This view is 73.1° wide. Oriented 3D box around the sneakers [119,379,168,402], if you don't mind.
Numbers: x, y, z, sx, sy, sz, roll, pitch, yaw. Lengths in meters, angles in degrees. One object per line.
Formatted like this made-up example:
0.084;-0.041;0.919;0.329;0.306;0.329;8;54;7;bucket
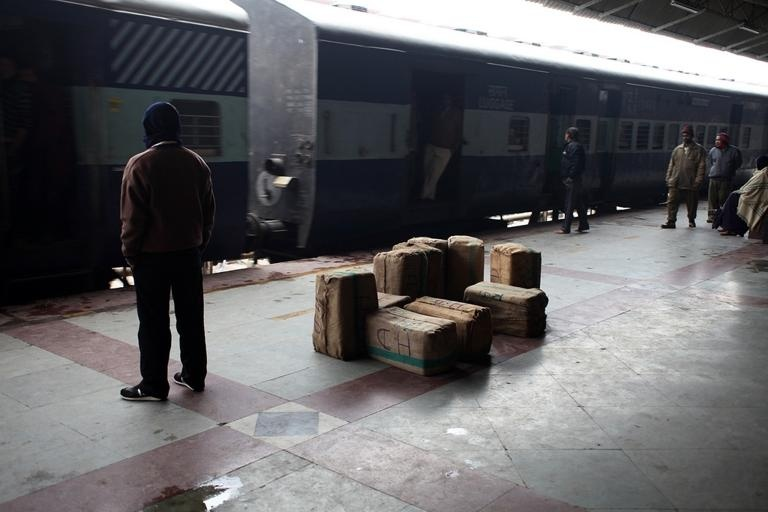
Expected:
-1.977;1.137;4.345;0.378;0.127;0.173;4;-3;11;sneakers

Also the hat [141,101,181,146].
-1.794;-1.059;4.180;0.269;0.365;0.227;-6;12;-21;hat
